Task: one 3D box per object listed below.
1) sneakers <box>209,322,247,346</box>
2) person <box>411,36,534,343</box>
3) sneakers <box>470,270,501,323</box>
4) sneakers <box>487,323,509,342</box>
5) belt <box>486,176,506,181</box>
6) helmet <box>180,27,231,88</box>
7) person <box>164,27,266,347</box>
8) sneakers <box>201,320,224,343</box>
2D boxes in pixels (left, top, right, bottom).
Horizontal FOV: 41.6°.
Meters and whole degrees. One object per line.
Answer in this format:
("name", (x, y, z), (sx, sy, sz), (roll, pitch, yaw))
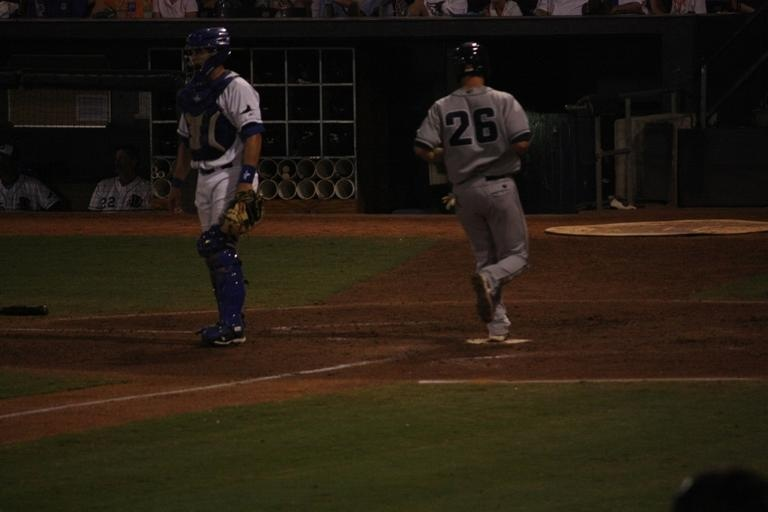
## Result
("sneakers", (-1.170, 0.589, 7.567), (0.143, 0.094, 0.272), (1, -2, 39))
("person", (0.689, -0.429, 7.393), (0.724, 2.228, 0.782), (-8, 16, -23))
("sneakers", (0.730, 0.300, 7.281), (0.172, 0.391, 0.208), (2, 23, 27))
("sneakers", (0.855, 0.559, 7.558), (0.187, 0.133, 0.156), (-6, 12, -35))
("belt", (0.806, -0.560, 7.239), (0.138, 0.034, 0.032), (-4, 14, -15))
("helmet", (-1.242, -1.532, 7.837), (0.608, 0.466, 0.457), (0, 4, -7))
("person", (-1.236, -0.510, 7.613), (0.723, 2.372, 0.831), (-5, 15, -11))
("sneakers", (-1.288, 0.575, 7.543), (0.161, 0.196, 0.175), (-3, 14, -6))
